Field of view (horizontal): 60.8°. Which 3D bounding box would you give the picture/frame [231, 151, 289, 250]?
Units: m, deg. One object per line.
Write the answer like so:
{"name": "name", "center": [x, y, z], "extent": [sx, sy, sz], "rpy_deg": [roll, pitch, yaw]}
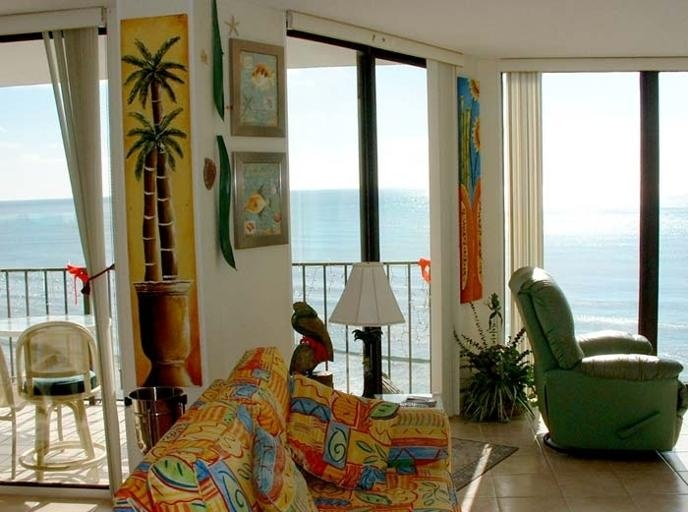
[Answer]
{"name": "picture/frame", "center": [-0.555, -0.365, 3.753], "extent": [0.052, 0.741, 0.586], "rpy_deg": [1, 4, 37]}
